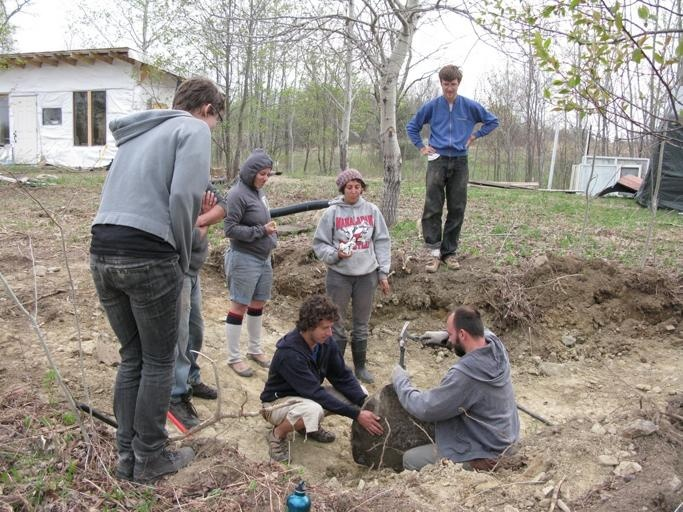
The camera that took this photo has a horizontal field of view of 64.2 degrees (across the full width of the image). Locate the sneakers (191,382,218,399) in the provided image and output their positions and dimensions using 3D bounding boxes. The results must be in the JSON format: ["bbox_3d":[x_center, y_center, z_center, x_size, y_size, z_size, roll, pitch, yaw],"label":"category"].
[{"bbox_3d":[-1.327,1.305,5.307,0.291,0.139,0.115,3,19,-4],"label":"sneakers"}]

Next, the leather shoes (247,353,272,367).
[{"bbox_3d":[-0.923,1.176,6.160,0.331,0.108,0.129,17,16,26],"label":"leather shoes"}]

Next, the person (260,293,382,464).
[{"bbox_3d":[-0.235,1.071,4.995,0.993,1.431,0.533,0,10,-11],"label":"person"}]

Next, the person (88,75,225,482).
[{"bbox_3d":[-1.372,0.291,3.961,0.825,2.677,0.484,0,10,-12],"label":"person"}]

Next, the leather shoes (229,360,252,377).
[{"bbox_3d":[-1.091,1.211,5.889,0.252,0.111,0.134,9,14,42],"label":"leather shoes"}]

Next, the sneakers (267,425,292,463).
[{"bbox_3d":[-0.566,1.717,4.950,0.127,0.149,0.349,13,39,-46],"label":"sneakers"}]

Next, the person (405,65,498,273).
[{"bbox_3d":[1.341,-1.051,6.980,1.036,2.605,0.671,2,10,1],"label":"person"}]

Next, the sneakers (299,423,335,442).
[{"bbox_3d":[-0.205,1.729,5.318,0.413,0.217,0.152,2,15,0],"label":"sneakers"}]

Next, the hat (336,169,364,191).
[{"bbox_3d":[0.076,-0.839,5.961,0.225,0.211,0.247,-6,7,-2],"label":"hat"}]
